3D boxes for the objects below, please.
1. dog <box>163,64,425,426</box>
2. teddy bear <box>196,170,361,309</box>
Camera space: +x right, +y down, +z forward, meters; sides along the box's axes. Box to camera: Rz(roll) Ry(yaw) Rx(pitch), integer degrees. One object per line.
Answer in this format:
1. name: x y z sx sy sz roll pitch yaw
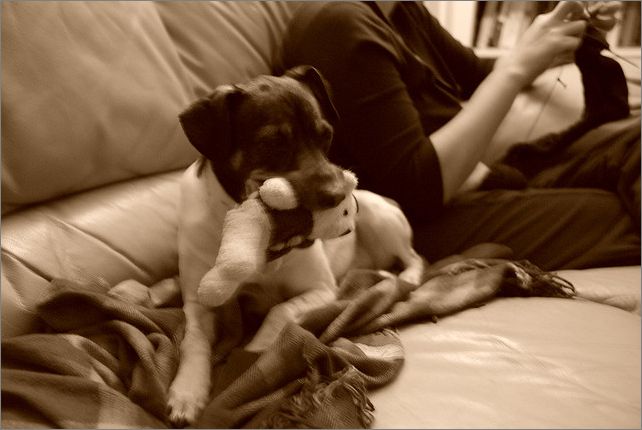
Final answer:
1. dog: -0.026 -0.087 2.421 0.706 0.934 1.140 -2 12 7
2. teddy bear: -0.152 0.040 1.960 0.493 0.320 0.195 -21 13 -24
